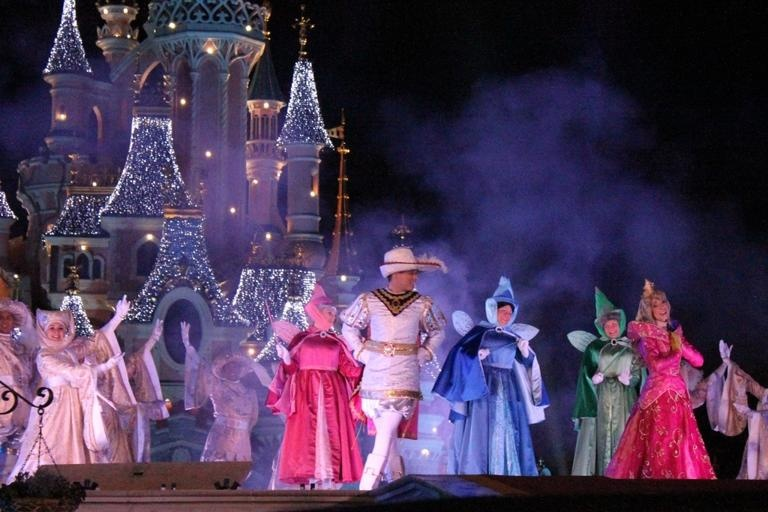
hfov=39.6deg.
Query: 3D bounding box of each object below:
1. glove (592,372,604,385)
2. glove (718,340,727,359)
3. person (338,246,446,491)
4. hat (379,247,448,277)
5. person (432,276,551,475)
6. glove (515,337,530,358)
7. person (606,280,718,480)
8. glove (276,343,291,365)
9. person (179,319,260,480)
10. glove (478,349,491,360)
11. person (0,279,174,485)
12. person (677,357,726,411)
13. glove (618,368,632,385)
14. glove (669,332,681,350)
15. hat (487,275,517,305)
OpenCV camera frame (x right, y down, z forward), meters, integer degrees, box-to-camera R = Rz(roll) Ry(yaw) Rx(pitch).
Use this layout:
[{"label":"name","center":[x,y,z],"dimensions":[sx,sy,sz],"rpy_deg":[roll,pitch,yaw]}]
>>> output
[{"label":"glove","center":[3.042,1.720,15.107],"dimensions":[0.128,0.161,0.060],"rpy_deg":[4,-14,29]},{"label":"glove","center":[5.074,1.381,15.903],"dimensions":[0.134,0.345,0.525],"rpy_deg":[-1,-9,16]},{"label":"person","center":[0.118,1.420,13.921],"dimensions":[1.275,3.120,0.298],"rpy_deg":[2,-9,2]},{"label":"hat","center":[0.359,0.100,14.128],"dimensions":[0.576,0.260,0.470],"rpy_deg":[-8,-5,1]},{"label":"person","center":[1.482,1.593,14.524],"dimensions":[1.355,2.659,0.632],"rpy_deg":[0,-9,9]},{"label":"glove","center":[1.912,1.238,14.606],"dimensions":[0.187,0.246,0.099],"rpy_deg":[15,35,25]},{"label":"person","center":[3.573,1.550,13.777],"dimensions":[1.207,2.544,0.528],"rpy_deg":[0,-9,12]},{"label":"glove","center":[-1.353,1.304,14.790],"dimensions":[0.098,0.298,0.225],"rpy_deg":[-26,38,-21]},{"label":"person","center":[-2.813,2.520,18.451],"dimensions":[1.236,1.926,0.903],"rpy_deg":[3,-9,-6]},{"label":"glove","center":[1.358,1.307,14.441],"dimensions":[0.121,0.156,0.057],"rpy_deg":[20,-7,-21]},{"label":"person","center":[-4.317,1.824,14.908],"dimensions":[1.444,2.536,0.931],"rpy_deg":[5,-9,-21]},{"label":"person","center":[4.756,2.009,15.919],"dimensions":[0.753,0.874,0.352],"rpy_deg":[0,13,-4]},{"label":"glove","center":[3.422,1.693,15.086],"dimensions":[0.212,0.205,0.084],"rpy_deg":[16,-30,-30]},{"label":"glove","center":[3.772,1.094,13.841],"dimensions":[0.065,0.182,0.146],"rpy_deg":[-15,-20,39]},{"label":"hat","center":[1.749,0.472,14.916],"dimensions":[0.461,0.471,0.433],"rpy_deg":[1,3,-9]}]
